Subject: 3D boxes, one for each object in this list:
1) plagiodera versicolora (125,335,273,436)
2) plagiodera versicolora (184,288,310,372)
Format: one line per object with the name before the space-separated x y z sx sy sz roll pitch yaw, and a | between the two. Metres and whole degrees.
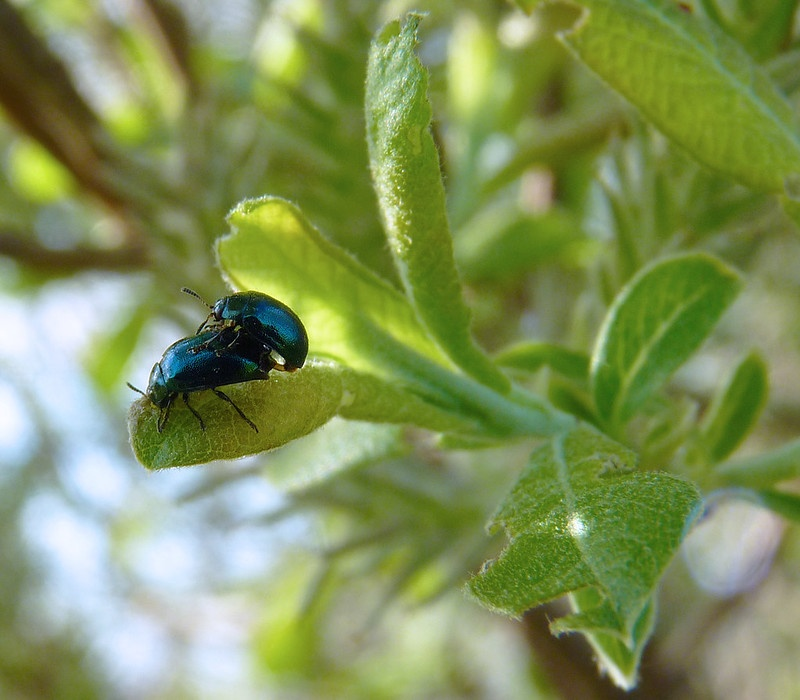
plagiodera versicolora | -0.157 0.026 0.905 0.097 0.033 0.073 -25 40 0
plagiodera versicolora | -0.122 -0.021 0.897 0.108 0.053 0.067 24 4 -4
